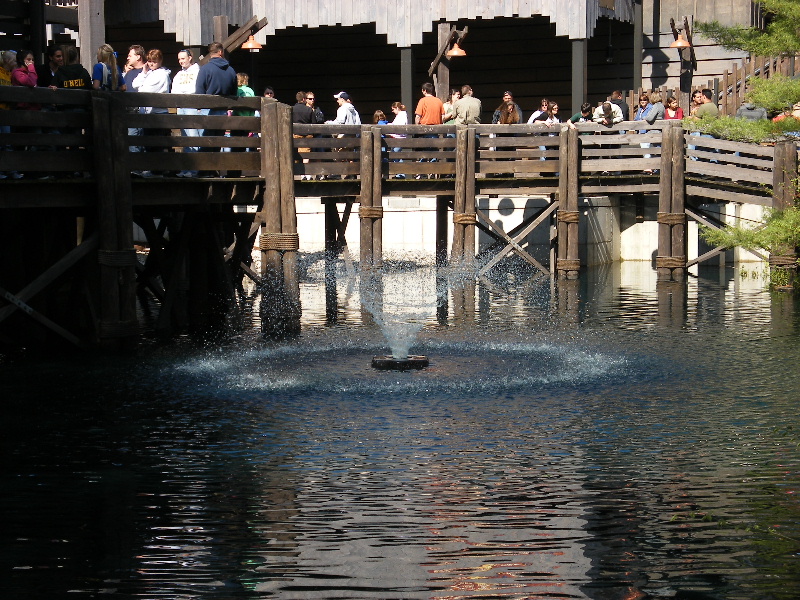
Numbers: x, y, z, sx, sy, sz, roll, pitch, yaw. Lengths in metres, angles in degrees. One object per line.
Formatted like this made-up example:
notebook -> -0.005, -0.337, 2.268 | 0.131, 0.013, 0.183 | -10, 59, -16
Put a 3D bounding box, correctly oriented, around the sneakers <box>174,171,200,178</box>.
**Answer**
sneakers -> -3.174, -1.901, 26.131 | 0.192, 0.075, 0.148 | -12, -4, 43
